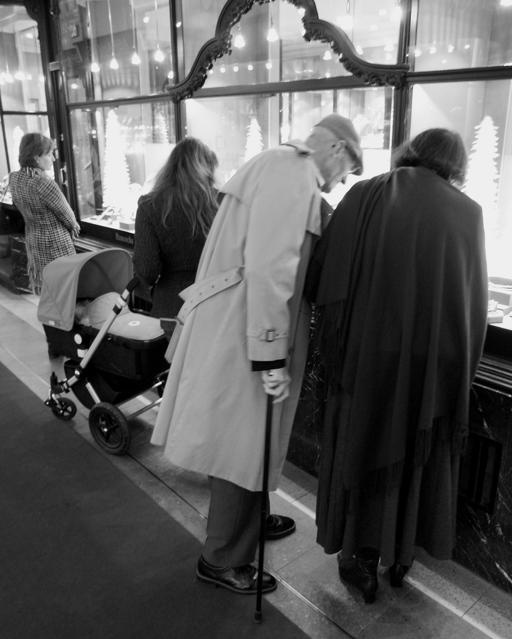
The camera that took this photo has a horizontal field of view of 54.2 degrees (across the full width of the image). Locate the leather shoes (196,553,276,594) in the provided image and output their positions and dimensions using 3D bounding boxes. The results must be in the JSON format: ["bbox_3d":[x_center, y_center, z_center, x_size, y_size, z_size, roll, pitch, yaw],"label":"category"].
[{"bbox_3d":[-0.058,0.803,1.627,0.246,0.148,0.110,9,0,-5],"label":"leather shoes"}]

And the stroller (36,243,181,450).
[{"bbox_3d":[-0.653,0.017,2.874,0.957,1.340,0.648,11,14,36],"label":"stroller"}]

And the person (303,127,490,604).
[{"bbox_3d":[0.367,0.208,1.374,0.475,1.401,0.282,3,10,6],"label":"person"}]
